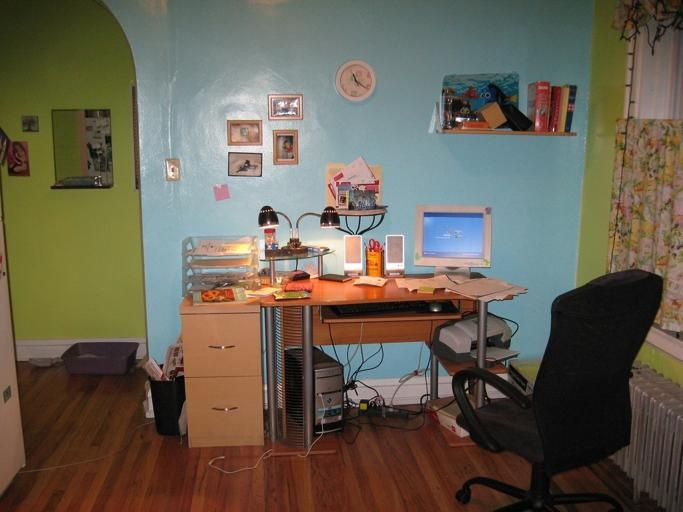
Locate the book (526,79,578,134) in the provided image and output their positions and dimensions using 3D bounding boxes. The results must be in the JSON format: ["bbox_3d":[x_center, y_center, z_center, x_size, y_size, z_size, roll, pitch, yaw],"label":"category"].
[{"bbox_3d":[1.452,-1.007,4.056,0.322,0.437,0.439,1,14,0],"label":"book"}]

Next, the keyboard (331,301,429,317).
[{"bbox_3d":[0.261,0.334,3.575,0.600,0.073,0.151,-4,10,-8],"label":"keyboard"}]

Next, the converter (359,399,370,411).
[{"bbox_3d":[0.168,1.026,3.946,0.057,0.073,0.106,2,-1,1],"label":"converter"}]

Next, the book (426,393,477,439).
[{"bbox_3d":[0.727,1.052,3.744,0.316,0.085,0.306,-4,13,-25],"label":"book"}]

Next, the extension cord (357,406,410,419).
[{"bbox_3d":[0.297,1.077,3.938,0.357,0.095,0.120,2,4,4],"label":"extension cord"}]

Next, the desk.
[{"bbox_3d":[0.130,0.395,3.822,1.937,1.269,0.958,-1,4,-14],"label":"desk"}]

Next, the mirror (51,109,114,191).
[{"bbox_3d":[-2.131,-0.887,4.620,0.572,0.776,0.421,0,9,-12],"label":"mirror"}]

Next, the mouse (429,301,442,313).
[{"bbox_3d":[0.601,0.323,3.573,0.062,0.029,0.062,-2,3,-23],"label":"mouse"}]

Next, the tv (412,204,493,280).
[{"bbox_3d":[0.772,-0.105,3.921,0.510,0.446,0.215,0,-1,2],"label":"tv"}]

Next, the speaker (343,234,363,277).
[{"bbox_3d":[0.078,-0.003,3.926,0.126,0.273,0.113,-2,10,5],"label":"speaker"}]

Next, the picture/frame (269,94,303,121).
[{"bbox_3d":[-0.382,-1.013,3.847,0.169,0.127,0.007,-1,9,-6],"label":"picture/frame"}]

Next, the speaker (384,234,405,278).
[{"bbox_3d":[0.368,-0.003,3.946,0.139,0.277,0.076,-3,10,1],"label":"speaker"}]
